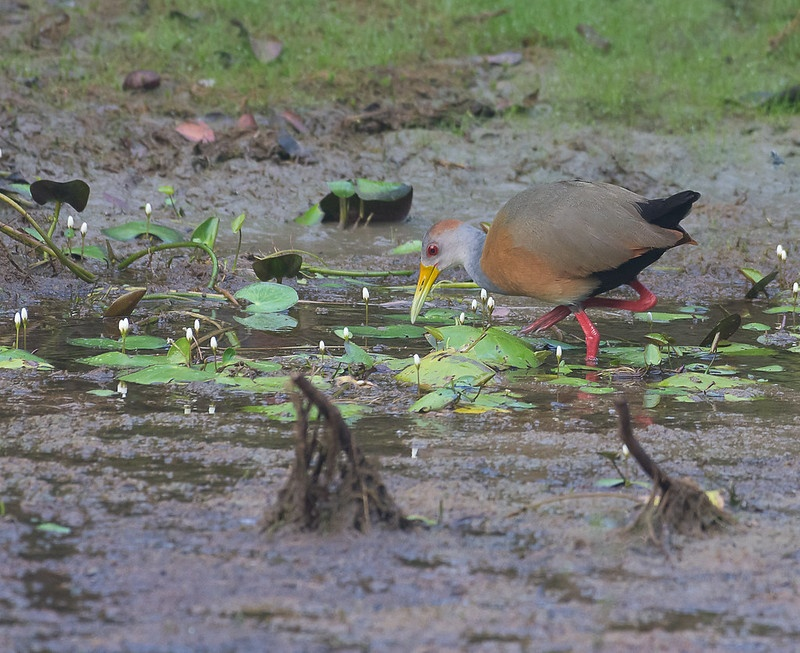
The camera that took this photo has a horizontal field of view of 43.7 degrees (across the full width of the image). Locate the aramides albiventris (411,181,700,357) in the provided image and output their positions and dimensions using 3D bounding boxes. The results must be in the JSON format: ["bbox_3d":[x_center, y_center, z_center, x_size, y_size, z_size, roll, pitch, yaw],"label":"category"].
[{"bbox_3d":[0.897,-0.325,5.476,1.615,0.684,0.677,-10,5,19],"label":"aramides albiventris"}]
